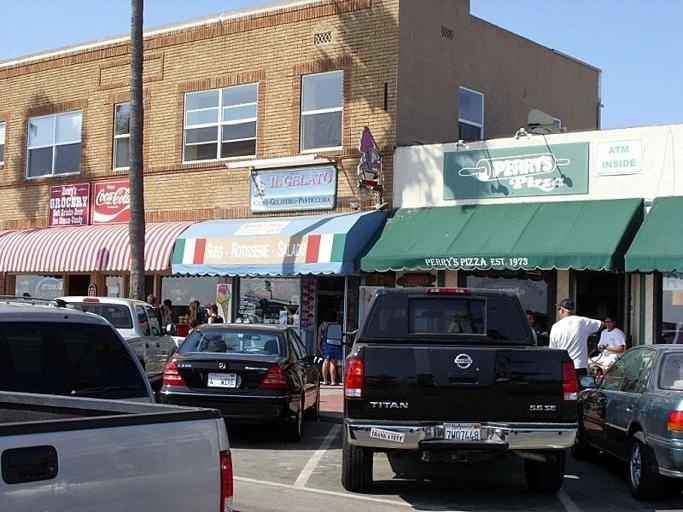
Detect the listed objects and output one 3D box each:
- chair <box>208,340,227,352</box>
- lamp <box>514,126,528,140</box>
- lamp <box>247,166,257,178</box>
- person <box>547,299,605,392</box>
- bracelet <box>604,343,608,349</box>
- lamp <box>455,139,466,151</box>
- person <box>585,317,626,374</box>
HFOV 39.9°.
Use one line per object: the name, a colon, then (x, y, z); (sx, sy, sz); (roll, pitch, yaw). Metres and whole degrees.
chair: (-1.923, 1.374, 14.506); (0.185, 0.180, 0.206); (4, -1, 19)
lamp: (3.834, -2.600, 20.249); (0.267, 0.247, 0.649); (3, 6, 4)
lamp: (-2.211, -2.066, 23.321); (0.210, 0.147, 0.213); (0, 2, 13)
person: (3.833, 1.688, 15.320); (0.907, 1.913, 0.463); (-5, 8, 8)
bracelet: (4.953, 1.702, 17.680); (0.068, 0.095, 0.030); (-4, -11, 34)
lamp: (2.623, -2.425, 20.862); (0.147, 0.183, 0.225); (1, 6, -19)
person: (4.951, 1.695, 17.670); (0.637, 1.106, 0.616); (-13, 10, -30)
